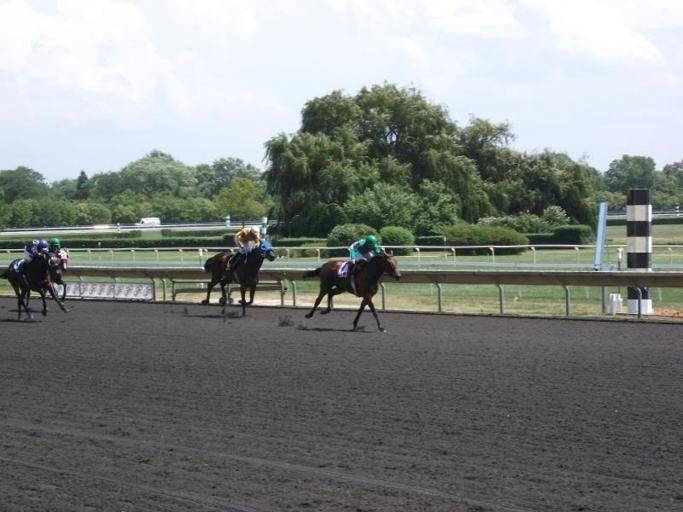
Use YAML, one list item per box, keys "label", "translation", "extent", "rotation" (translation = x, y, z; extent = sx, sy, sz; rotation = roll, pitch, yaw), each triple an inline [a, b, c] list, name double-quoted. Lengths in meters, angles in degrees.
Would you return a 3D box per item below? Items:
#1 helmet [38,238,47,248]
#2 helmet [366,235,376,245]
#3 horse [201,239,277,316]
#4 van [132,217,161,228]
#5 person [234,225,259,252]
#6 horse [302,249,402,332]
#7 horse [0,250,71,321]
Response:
- label: "helmet"
  translation: [-5.403, -0.239, 15.630]
  extent: [0.166, 0.191, 0.202]
  rotation: [8, -32, -24]
- label: "helmet"
  translation: [0.501, -0.264, 13.667]
  extent: [0.173, 0.126, 0.144]
  rotation: [-7, -41, -10]
- label: "horse"
  translation: [-1.943, 0.376, 16.188]
  extent: [0.518, 1.427, 2.283]
  rotation: [3, 1, -41]
- label: "van"
  translation: [-20.542, -3.511, 90.889]
  extent: [3.212, 0.991, 2.017]
  rotation: [2, 0, -1]
- label: "person"
  translation: [-1.737, -0.300, 15.970]
  extent: [0.439, 0.437, 1.023]
  rotation: [-2, 6, -7]
- label: "horse"
  translation: [0.120, 0.523, 14.015]
  extent: [0.491, 1.222, 2.106]
  rotation: [2, 2, -43]
- label: "horse"
  translation: [-5.751, 0.507, 16.272]
  extent: [1.036, 1.313, 2.002]
  rotation: [-3, 7, -17]
